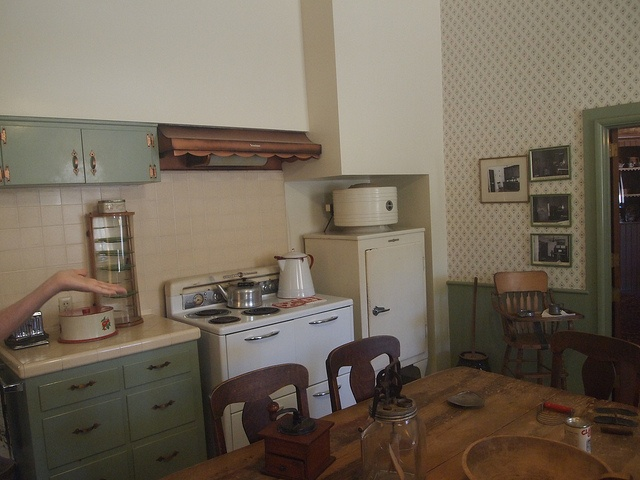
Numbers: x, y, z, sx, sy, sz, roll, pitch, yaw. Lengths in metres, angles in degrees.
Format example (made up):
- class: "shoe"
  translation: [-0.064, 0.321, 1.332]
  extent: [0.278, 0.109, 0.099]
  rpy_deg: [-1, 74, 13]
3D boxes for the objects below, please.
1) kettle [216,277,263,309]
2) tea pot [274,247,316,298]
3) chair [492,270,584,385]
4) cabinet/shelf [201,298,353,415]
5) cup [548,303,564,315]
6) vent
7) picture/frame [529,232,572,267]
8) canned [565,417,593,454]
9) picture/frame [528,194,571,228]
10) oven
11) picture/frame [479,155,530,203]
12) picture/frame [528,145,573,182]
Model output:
- class: "kettle"
  translation: [-0.615, 0.401, 3.839]
  extent: [0.323, 0.210, 0.267]
  rpy_deg: [-4, 8, -30]
- class: "tea pot"
  translation: [-0.208, 0.268, 4.106]
  extent: [0.314, 0.369, 0.414]
  rpy_deg: [2, 7, 34]
- class: "chair"
  translation: [1.691, 0.775, 3.972]
  extent: [0.579, 0.972, 0.704]
  rpy_deg: [-1, 2, 9]
- class: "cabinet/shelf"
  translation: [-0.343, 0.622, 3.615]
  extent: [1.111, 0.726, 0.599]
  rpy_deg: [-13, 15, -36]
- class: "cup"
  translation: [1.817, 0.528, 3.818]
  extent: [0.092, 0.070, 0.075]
  rpy_deg: [1, -1, 23]
- class: "vent"
  translation: [-0.647, -0.712, 3.848]
  extent: [1.213, 0.312, 0.445]
  rpy_deg: [-7, 5, -31]
- class: "picture/frame"
  translation: [1.962, 0.078, 4.205]
  extent: [0.271, 0.239, 0.021]
  rpy_deg: [7, 7, 42]
- class: "canned"
  translation: [1.041, 0.780, 2.047]
  extent: [0.126, 0.135, 0.127]
  rpy_deg: [-3, 5, 15]
- class: "picture/frame"
  translation: [1.944, -0.246, 4.187]
  extent: [0.272, 0.263, 0.019]
  rpy_deg: [6, 8, 43]
- class: "oven"
  translation: [-0.184, 0.797, 2.856]
  extent: [0.758, 0.714, 0.321]
  rpy_deg: [-12, 13, -35]
- class: "picture/frame"
  translation: [1.648, -0.540, 4.406]
  extent: [0.429, 0.438, 0.019]
  rpy_deg: [2, 3, 41]
- class: "picture/frame"
  translation: [1.937, -0.642, 4.161]
  extent: [0.317, 0.287, 0.022]
  rpy_deg: [3, 6, 39]
